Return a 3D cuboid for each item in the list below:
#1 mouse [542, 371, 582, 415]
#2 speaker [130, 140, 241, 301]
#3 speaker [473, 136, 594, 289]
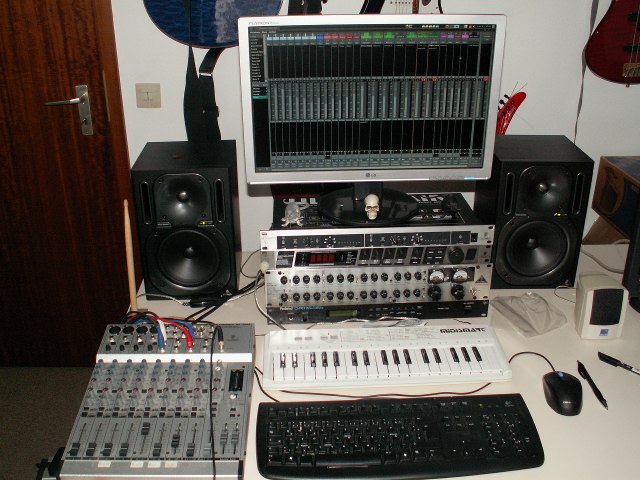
[{"bbox_3d":[0.825,0.498,1.744,0.122,0.065,0.194,-6,26,14],"label":"mouse"},{"bbox_3d":[-0.459,-0.107,2.307,0.520,0.851,0.535,0,21,0],"label":"speaker"},{"bbox_3d":[0.935,-0.160,2.253,0.393,0.594,0.437,9,37,27],"label":"speaker"}]
